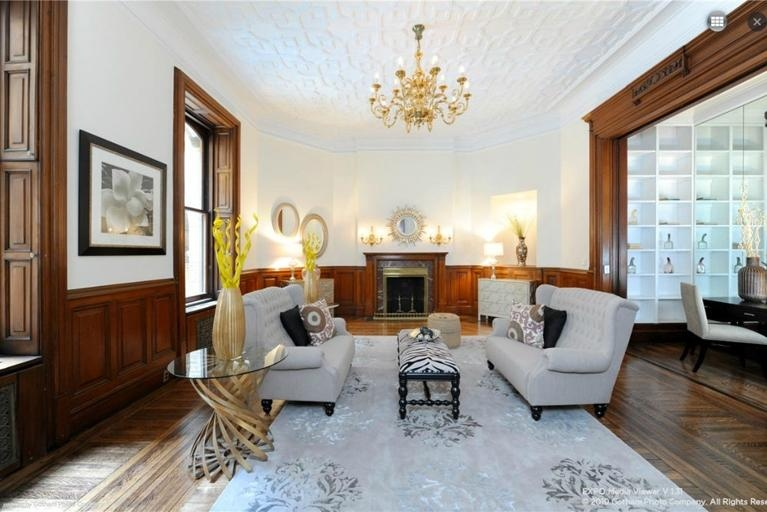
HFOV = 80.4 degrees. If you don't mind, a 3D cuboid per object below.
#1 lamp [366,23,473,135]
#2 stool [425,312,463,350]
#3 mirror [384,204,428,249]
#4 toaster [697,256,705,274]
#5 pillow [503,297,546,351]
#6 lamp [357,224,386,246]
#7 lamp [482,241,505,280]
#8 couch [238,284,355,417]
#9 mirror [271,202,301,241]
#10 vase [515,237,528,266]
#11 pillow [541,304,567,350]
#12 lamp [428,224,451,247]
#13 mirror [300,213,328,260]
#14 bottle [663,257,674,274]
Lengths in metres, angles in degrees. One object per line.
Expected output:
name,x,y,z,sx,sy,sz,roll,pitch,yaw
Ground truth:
lamp,0.541,-2.590,6.747,1.433,1.825,1.456,0,-1,-3
stool,0.989,1.186,7.209,0.492,0.462,0.527,0,-2,-3
mirror,0.497,-0.606,9.587,0.906,1.001,0.059,1,-3,-3
toaster,5.317,0.145,7.552,0.201,0.279,0.092,-4,5,-37
pillow,1.924,0.928,6.116,0.213,0.539,0.571,20,-14,-28
lamp,-0.235,-0.440,9.605,0.447,0.393,0.141,0,-3,-3
lamp,2.251,0.066,9.389,0.349,0.741,0.806,-1,3,12
couch,-1.048,1.237,5.829,1.215,1.517,2.191,0,0,4
mirror,-1.929,-0.680,8.856,0.057,0.774,0.762,2,3,27
vase,2.787,-0.098,9.120,0.172,0.555,0.392,-1,4,11
pillow,2.172,0.923,5.760,0.177,0.488,0.338,17,-35,-19
lamp,1.168,-0.427,9.609,0.466,0.478,0.150,0,-1,-6
mirror,-1.427,-0.408,9.175,0.050,1.047,0.952,-4,-5,25
bottle,4.764,0.145,7.565,0.139,0.276,0.226,1,4,32
